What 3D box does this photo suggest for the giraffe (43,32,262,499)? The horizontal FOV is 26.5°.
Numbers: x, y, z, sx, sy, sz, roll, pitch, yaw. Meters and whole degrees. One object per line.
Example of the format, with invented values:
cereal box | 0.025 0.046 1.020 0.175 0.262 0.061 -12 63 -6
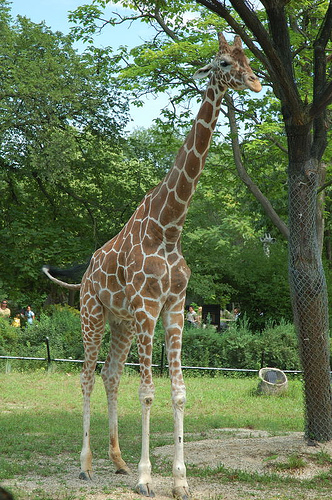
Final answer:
giraffe | -0.216 0.292 8.190 1.109 4.890 2.913 4 -9 -25
